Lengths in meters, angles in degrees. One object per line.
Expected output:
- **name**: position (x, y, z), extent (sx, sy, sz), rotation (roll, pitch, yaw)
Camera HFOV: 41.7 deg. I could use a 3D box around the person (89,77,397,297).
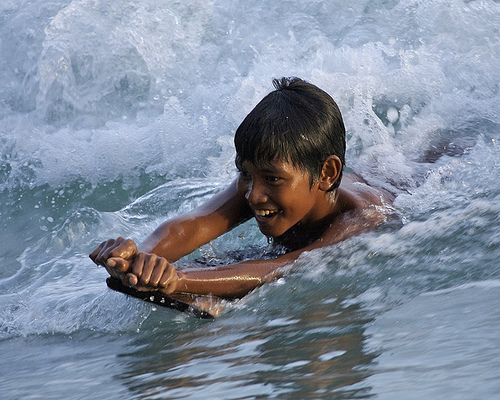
- **person**: position (0.037, -0.101, 3.146), extent (2.136, 0.773, 0.697), rotation (-13, 36, -32)
